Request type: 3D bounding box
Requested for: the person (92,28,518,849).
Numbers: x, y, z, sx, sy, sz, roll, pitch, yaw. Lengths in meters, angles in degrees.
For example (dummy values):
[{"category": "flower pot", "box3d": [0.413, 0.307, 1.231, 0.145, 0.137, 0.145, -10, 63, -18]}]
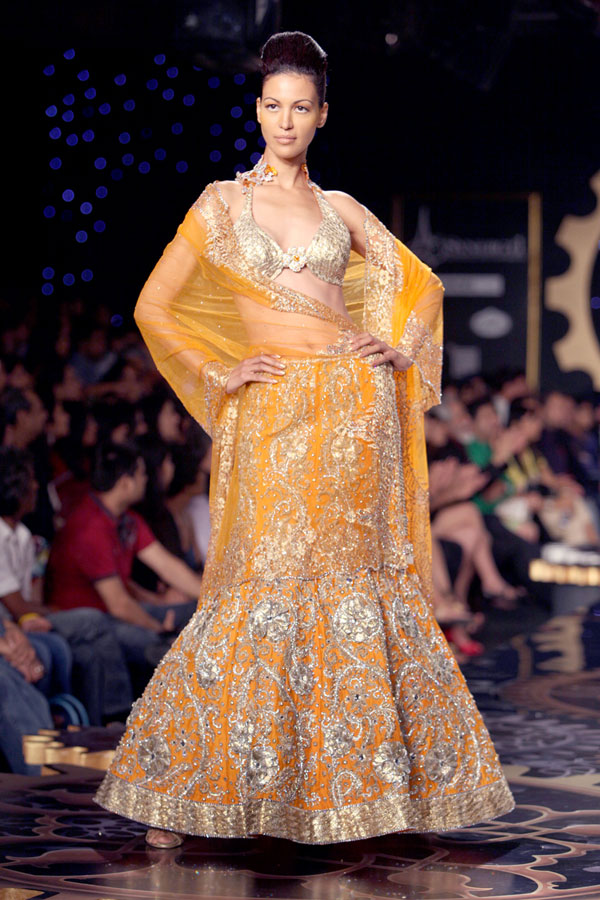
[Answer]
[{"category": "person", "box3d": [0.014, -0.058, 1.874, 0.768, 1.550, 0.300, 1, -7, -11]}]
